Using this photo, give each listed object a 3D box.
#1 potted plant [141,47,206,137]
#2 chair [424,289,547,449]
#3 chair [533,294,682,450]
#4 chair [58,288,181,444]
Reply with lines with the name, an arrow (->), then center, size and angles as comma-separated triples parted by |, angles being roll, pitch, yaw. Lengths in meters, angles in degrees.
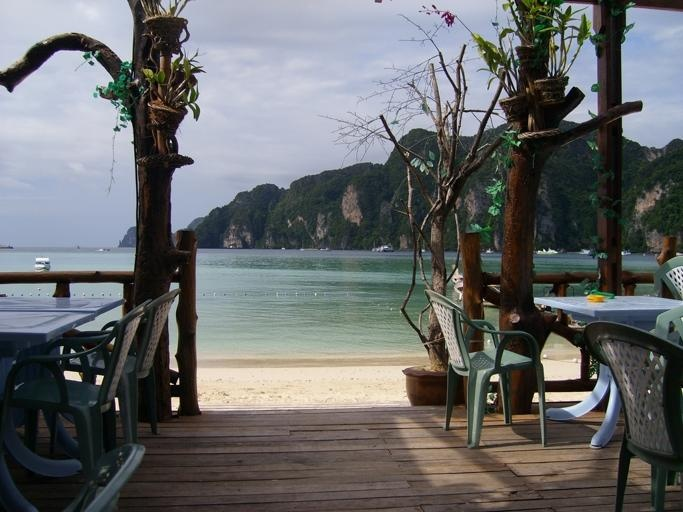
potted plant -> -1.230, -1.226, 5.085 | 0.444, 0.572, 0.399 | -4, 14, -17
chair -> 1.057, 0.787, 4.948 | 0.809, 1.081, 0.844 | -1, 3, 26
chair -> 1.862, 0.696, 5.035 | 0.939, 1.021, 1.006 | 0, 10, 8
chair -> -1.544, 0.736, 5.060 | 0.853, 1.341, 0.919 | 3, 0, 3
